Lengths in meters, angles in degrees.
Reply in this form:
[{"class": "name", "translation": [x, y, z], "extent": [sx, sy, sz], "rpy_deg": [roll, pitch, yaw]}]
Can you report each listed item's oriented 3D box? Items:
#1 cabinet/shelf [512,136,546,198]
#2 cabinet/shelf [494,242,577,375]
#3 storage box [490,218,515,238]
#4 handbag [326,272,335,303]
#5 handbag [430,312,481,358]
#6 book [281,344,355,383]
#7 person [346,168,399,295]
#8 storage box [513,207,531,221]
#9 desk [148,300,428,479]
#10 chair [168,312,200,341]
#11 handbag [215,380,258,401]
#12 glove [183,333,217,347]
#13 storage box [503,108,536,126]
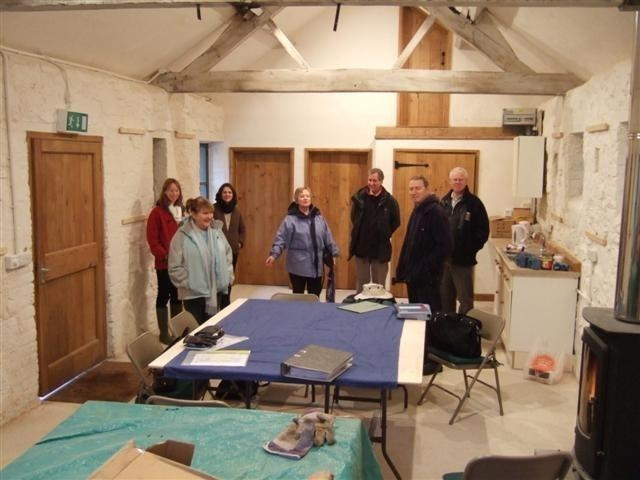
[{"class": "cabinet/shelf", "translation": [2.872, -1.020, 7.147], "extent": [0.380, 0.812, 0.240], "rpy_deg": [6, 14, 21]}, {"class": "cabinet/shelf", "translation": [2.402, 0.800, 5.747], "extent": [0.432, 0.700, 1.336], "rpy_deg": [2, 12, 14]}, {"class": "storage box", "translation": [2.673, -0.184, 7.709], "extent": [0.302, 0.226, 0.293], "rpy_deg": [0, 7, 3]}, {"class": "handbag", "translation": [0.114, 0.548, 6.119], "extent": [0.091, 0.375, 0.187], "rpy_deg": [0, 13, -2]}, {"class": "handbag", "translation": [1.240, 0.878, 4.757], "extent": [0.187, 0.306, 0.444], "rpy_deg": [1, 2, -34]}, {"class": "book", "translation": [-0.017, 0.882, 3.642], "extent": [0.405, 0.119, 0.399], "rpy_deg": [7, 14, 27]}, {"class": "person", "translation": [0.702, -0.046, 6.865], "extent": [0.635, 1.340, 0.345], "rpy_deg": [1, 13, 3]}, {"class": "storage box", "translation": [2.991, -0.383, 7.715], "extent": [0.270, 0.203, 0.162], "rpy_deg": [5, 14, 18]}, {"class": "desk", "translation": [0.005, 1.333, 4.334], "extent": [1.431, 0.742, 1.481], "rpy_deg": [2, 12, 11]}, {"class": "chair", "translation": [-1.201, 0.748, 4.590], "extent": [0.215, 0.292, 0.222], "rpy_deg": [22, 25, 30]}, {"class": "handbag", "translation": [-0.852, 1.438, 4.884], "extent": [0.396, 0.119, 0.398], "rpy_deg": [1, 2, 2]}, {"class": "glove", "translation": [-0.921, 0.759, 3.992], "extent": [0.150, 0.055, 0.118], "rpy_deg": [6, 10, 7]}, {"class": "storage box", "translation": [2.871, -1.790, 7.506], "extent": [0.459, 0.253, 0.226], "rpy_deg": [4, 4, 18]}]
